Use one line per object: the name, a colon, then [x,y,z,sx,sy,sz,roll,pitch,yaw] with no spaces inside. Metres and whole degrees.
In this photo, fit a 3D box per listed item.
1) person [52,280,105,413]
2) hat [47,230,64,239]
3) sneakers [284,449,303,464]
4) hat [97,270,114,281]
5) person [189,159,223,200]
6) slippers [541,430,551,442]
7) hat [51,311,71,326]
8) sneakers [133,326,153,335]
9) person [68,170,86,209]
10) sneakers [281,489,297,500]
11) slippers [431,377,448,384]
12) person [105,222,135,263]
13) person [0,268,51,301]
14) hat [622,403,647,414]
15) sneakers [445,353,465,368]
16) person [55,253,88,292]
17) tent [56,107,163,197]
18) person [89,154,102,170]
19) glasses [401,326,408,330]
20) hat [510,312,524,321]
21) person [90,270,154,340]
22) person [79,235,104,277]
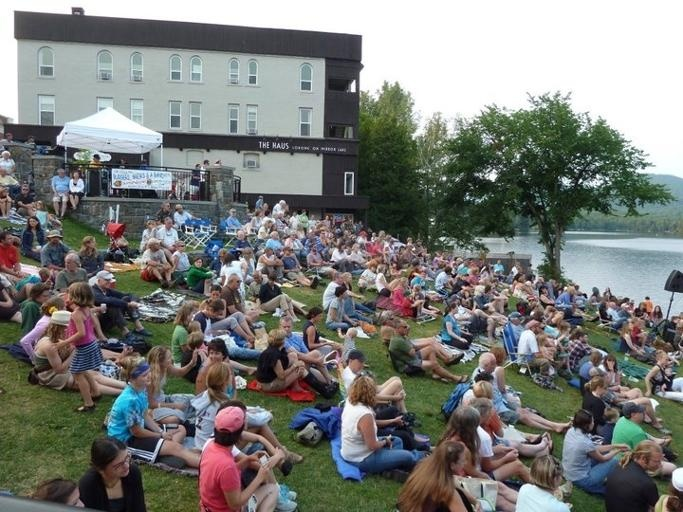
person: [-5.566,1.914,14.278,0.882,2.683,0.662,6,4,0]
hat: [-8.554,-0.663,19.870,0.537,0.203,0.596,1,-9,-16]
sneakers: [-1.023,4.165,13.790,0.503,0.224,0.178,5,1,34]
hat: [-6.059,0.478,17.097,0.338,0.204,0.253,2,0,-13]
person: [-6.526,-3.463,30.876,1.035,1.680,0.758,4,4,-24]
slippers: [4.744,4.195,15.576,0.153,0.196,0.068,25,-27,-32]
hat: [-5.904,1.304,14.037,0.296,0.209,0.331,8,6,3]
sneakers: [-5.070,1.908,17.103,0.467,0.179,0.184,9,12,-13]
person: [-11.088,-2.779,27.930,0.604,1.599,0.512,4,4,-24]
sneakers: [-1.008,4.647,12.938,0.257,0.102,0.147,22,-19,-37]
slippers: [2.639,3.305,17.913,0.493,0.185,0.159,6,-2,10]
person: [-7.753,-0.506,23.373,0.838,1.316,1.170,5,3,-16]
person: [-7.979,0.723,16.899,1.383,0.865,1.055,7,14,-25]
hat: [6.879,3.666,15.755,0.454,0.248,0.306,-11,5,-3]
sneakers: [3.155,2.936,18.809,0.528,0.173,0.228,-44,23,-23]
person: [-6.941,0.440,17.126,0.508,1.004,1.043,6,12,27]
tent: [-10.488,-5.800,30.174,4.140,2.003,3.368,5,3,-23]
person: [-10.615,-4.140,28.828,0.488,0.724,1.156,4,3,-20]
glasses: [1.713,1.934,17.899,0.097,0.127,0.268,8,3,33]
hat: [5.627,1.915,21.725,0.358,0.192,0.263,-16,11,-19]
person: [-5.818,1.183,17.073,1.822,1.559,0.925,9,13,21]
person: [-7.227,0.036,19.176,0.791,1.215,0.775,0,0,-15]
